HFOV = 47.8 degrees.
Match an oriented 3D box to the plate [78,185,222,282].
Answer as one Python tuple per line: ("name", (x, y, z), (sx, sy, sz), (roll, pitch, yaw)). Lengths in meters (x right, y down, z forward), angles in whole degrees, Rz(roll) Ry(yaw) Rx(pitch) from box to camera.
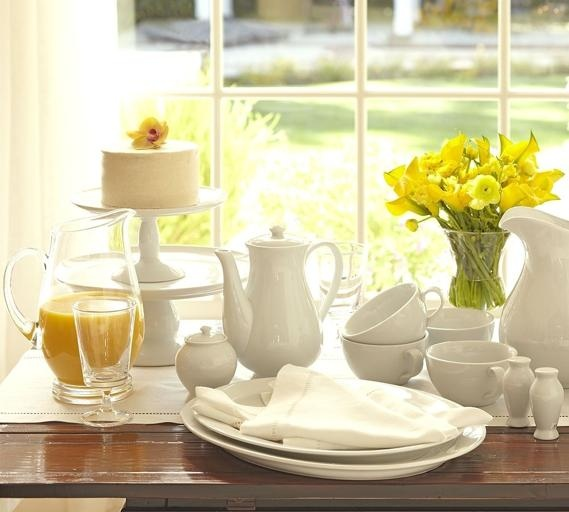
("plate", (-0.207, -0.072, 1.001), (0.203, 0.098, 0.187), (6, 16, 14))

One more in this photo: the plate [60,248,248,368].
("plate", (-0.182, 0.065, 1.028), (0.212, 0.094, 0.208), (4, 6, 33))

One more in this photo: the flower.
("flower", (0.302, -0.052, 1.170), (0.321, 0.279, 0.315), (-1, 0, 30))

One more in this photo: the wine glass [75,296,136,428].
("wine glass", (-0.236, 0.130, 0.853), (0.075, 0.152, 0.144), (-4, 11, -16))

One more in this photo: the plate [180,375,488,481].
("plate", (0.049, 0.196, 0.747), (0.308, 0.054, 0.243), (6, 11, 39))

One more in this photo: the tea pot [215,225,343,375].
("tea pot", (-0.003, 0.065, 0.924), (0.165, 0.220, 0.126), (0, 11, 5))
